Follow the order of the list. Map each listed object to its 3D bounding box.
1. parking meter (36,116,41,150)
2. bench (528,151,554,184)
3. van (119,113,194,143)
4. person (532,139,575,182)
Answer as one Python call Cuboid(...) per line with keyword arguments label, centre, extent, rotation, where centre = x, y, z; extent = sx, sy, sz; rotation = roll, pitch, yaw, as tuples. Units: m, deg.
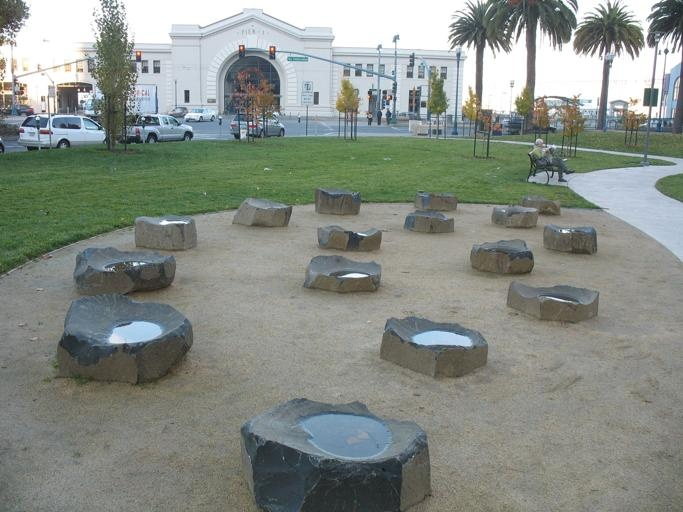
Cuboid(label="parking meter", centre=(-15.830, -6.496, 29.125), extent=(0.223, 1.691, 0.533), rotation=(-7, 16, -33))
Cuboid(label="bench", centre=(7.916, -3.519, 22.091), extent=(0.688, 0.909, 1.608), rotation=(2, 14, 21))
Cuboid(label="van", centre=(-12.109, -8.302, 36.787), extent=(1.996, 1.782, 4.455), rotation=(17, 25, 38))
Cuboid(label="person", centre=(8.252, -3.775, 21.714), extent=(1.488, 1.997, 0.852), rotation=(-5, 6, 44))
